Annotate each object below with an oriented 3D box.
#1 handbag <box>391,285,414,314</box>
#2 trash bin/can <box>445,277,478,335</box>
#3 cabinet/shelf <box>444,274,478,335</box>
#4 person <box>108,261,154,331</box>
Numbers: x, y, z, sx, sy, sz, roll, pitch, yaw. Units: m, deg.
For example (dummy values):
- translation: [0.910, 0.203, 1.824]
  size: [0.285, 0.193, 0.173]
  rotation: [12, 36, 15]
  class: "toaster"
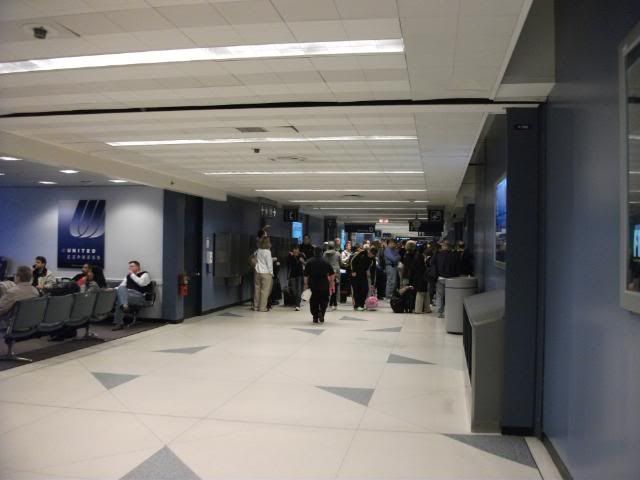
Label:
- translation: [2.475, 1.763, 12.944]
  size: [0.756, 0.843, 0.613]
  rotation: [2, -3, 2]
  class: "handbag"
- translation: [3.053, 1.456, 9.681]
  size: [0.623, 1.241, 0.526]
  rotation: [0, -1, -34]
  class: "trash bin/can"
- translation: [3.111, 1.435, 9.809]
  size: [0.643, 1.064, 0.641]
  rotation: [2, -3, -23]
  class: "cabinet/shelf"
- translation: [-4.603, 1.293, 10.699]
  size: [0.846, 1.731, 1.033]
  rotation: [-4, -13, 12]
  class: "person"
